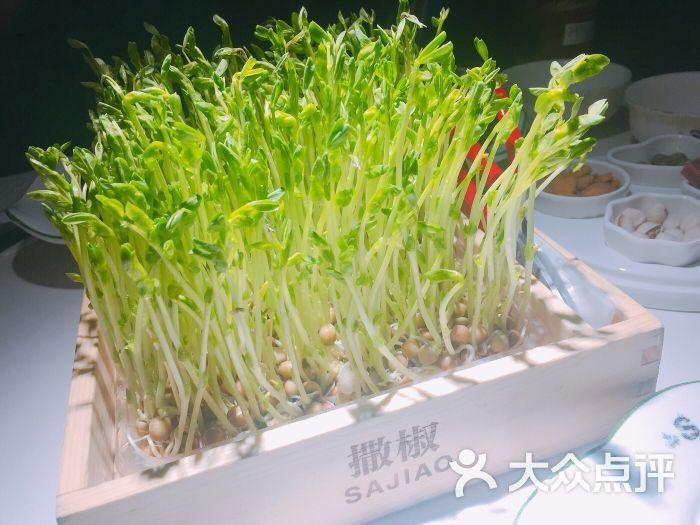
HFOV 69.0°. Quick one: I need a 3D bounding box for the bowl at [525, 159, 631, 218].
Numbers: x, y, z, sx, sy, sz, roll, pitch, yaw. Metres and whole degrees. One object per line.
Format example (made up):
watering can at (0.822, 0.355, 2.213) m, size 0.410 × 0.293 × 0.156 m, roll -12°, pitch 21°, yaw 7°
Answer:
bowl at (0.492, -0.193, 1.126) m, size 0.157 × 0.040 × 0.152 m, roll -17°, pitch 33°, yaw 11°
